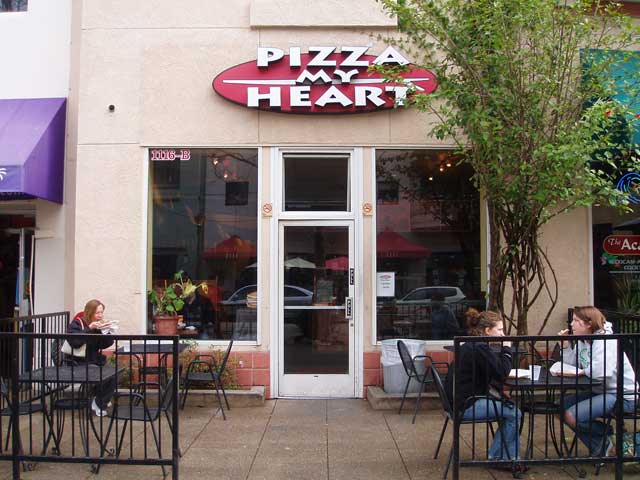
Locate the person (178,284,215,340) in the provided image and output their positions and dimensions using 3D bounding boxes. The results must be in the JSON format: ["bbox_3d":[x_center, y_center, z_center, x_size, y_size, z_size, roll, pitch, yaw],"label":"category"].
[{"bbox_3d":[-1.933,1.131,13.975,0.785,1.131,0.657,0,-7,-4],"label":"person"}]

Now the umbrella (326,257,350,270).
[{"bbox_3d":[0.263,0.356,13.937,0.368,0.199,0.065,-1,13,-5],"label":"umbrella"}]

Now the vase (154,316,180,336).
[{"bbox_3d":[-2.397,1.310,13.658,0.444,0.315,0.443,2,0,-8],"label":"vase"}]
